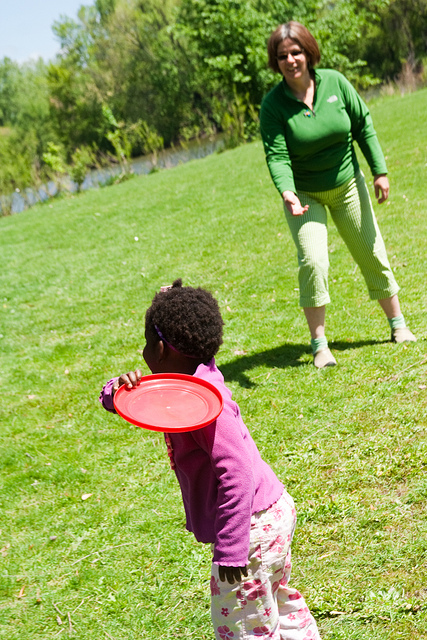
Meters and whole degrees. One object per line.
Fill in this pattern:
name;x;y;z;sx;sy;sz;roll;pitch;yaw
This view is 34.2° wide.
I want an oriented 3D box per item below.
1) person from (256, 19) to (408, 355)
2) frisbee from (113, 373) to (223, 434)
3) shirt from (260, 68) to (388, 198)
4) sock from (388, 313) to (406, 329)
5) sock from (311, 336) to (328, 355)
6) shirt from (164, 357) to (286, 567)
person;0.766;-0.780;4.306;0.797;2.094;0.473;-21;16;-9
frisbee;-0.156;0.243;2.061;0.452;0.105;0.239;-4;19;39
shirt;0.634;-1.151;4.245;0.740;0.780;0.530;-17;22;-5
sock;1.216;0.008;4.636;0.086;0.086;0.089;-4;-5;-29
sock;0.695;0.156;4.584;0.105;0.105;0.098;22;27;39
shirt;0.024;0.429;2.091;0.321;0.514;0.447;-21;16;-8
